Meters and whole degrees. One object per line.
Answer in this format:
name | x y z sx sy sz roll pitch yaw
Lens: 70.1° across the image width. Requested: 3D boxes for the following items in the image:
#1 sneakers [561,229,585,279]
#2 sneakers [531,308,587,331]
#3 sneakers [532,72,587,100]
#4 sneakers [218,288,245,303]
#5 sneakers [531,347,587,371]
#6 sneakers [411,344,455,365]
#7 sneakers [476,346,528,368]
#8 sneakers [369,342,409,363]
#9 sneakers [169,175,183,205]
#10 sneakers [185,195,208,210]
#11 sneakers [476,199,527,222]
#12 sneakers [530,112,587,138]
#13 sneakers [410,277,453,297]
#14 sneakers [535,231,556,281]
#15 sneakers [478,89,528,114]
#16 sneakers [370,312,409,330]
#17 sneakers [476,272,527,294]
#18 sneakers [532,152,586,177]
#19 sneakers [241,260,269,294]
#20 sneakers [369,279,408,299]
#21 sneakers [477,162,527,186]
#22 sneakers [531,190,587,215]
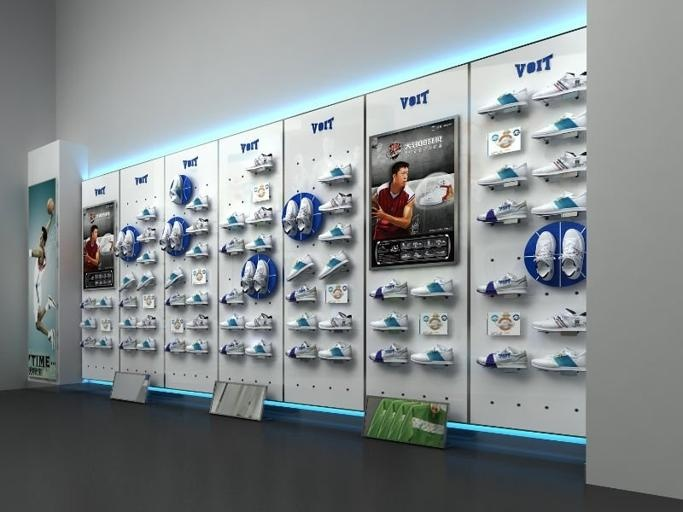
sneakers | 1.836 -0.013 3.857 0.144 0.429 0.151 0 -8 30
sneakers | 1.764 0.521 3.943 0.370 0.187 0.147 -1 -7 24
sneakers | 1.803 -1.366 4.028 0.383 0.180 0.144 -3 0 36
sneakers | -1.329 0.476 5.742 0.351 0.227 0.132 -2 -9 35
sneakers | 1.739 0.819 3.920 0.382 0.178 0.149 0 -6 20
sneakers | 0.837 0.920 4.487 0.382 0.224 0.156 -1 -14 17
sneakers | 1.360 0.871 4.159 0.406 0.207 0.161 1 -5 19
sneakers | 0.453 0.932 4.703 0.348 0.179 0.154 -1 -7 22
sneakers | -2.171 -0.854 6.452 0.179 0.399 0.139 5 7 44
sneakers | -1.855 -0.671 6.249 0.368 0.196 0.140 -6 -11 40
sneakers | 1.357 -0.366 4.149 0.391 0.169 0.148 -3 -6 35
sneakers | 1.786 -1.032 4.029 0.391 0.183 0.138 -10 -6 29
sneakers | 0.838 0.305 4.512 0.387 0.181 0.148 -4 -14 27
sneakers | 1.653 0.026 3.961 0.146 0.408 0.130 -2 -9 34
sneakers | 1.394 -1.293 4.242 0.398 0.172 0.142 -9 -10 32
sneakers | 0.481 0.646 4.730 0.392 0.200 0.143 -2 -18 20
sneakers | 1.386 0.236 4.184 0.385 0.182 0.150 -1 -6 24
sneakers | 1.786 -0.713 4.017 0.396 0.185 0.148 -5 -7 36
sneakers | -0.983 0.249 5.545 0.267 0.397 0.118 4 4 27
sneakers | 0.455 0.324 4.740 0.365 0.185 0.148 -2 -8 30
sneakers | 1.387 -0.675 4.217 0.391 0.171 0.143 -4 -6 32
sneakers | 1.778 -0.423 3.998 0.403 0.197 0.147 -1 -1 35
